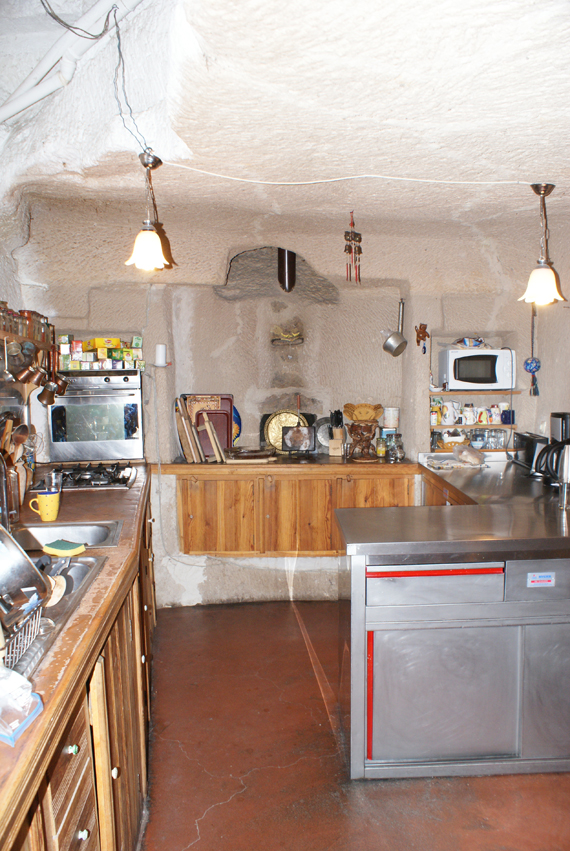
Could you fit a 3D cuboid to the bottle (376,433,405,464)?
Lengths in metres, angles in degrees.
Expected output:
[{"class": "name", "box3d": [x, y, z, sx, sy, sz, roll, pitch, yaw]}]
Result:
[{"class": "bottle", "box3d": [0.672, 0.146, 4.314, 0.200, 0.197, 0.151, 0, -1, -2]}]

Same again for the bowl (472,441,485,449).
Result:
[{"class": "bowl", "box3d": [1.309, 0.130, 4.450, 0.069, 0.052, 0.062, -2, 3, -19]}]

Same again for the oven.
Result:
[{"class": "oven", "box3d": [-1.195, -0.040, 4.126, 0.757, 0.748, 0.498, -1, 3, -8]}]

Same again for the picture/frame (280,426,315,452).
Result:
[{"class": "picture/frame", "box3d": [0.093, 0.095, 4.411, 0.209, 0.177, 0.047, -2, 5, -4]}]
